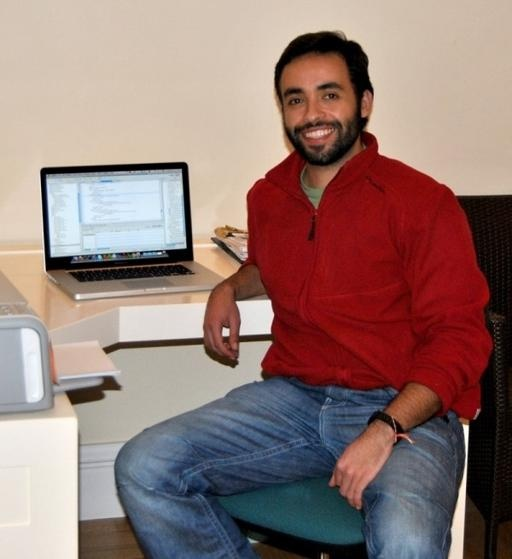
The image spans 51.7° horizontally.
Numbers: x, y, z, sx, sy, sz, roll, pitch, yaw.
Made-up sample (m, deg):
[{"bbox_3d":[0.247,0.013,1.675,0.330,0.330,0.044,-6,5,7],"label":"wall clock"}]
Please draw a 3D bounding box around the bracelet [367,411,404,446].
[{"bbox_3d":[0.208,0.237,0.846,0.053,0.051,0.032,-24,19,52],"label":"bracelet"}]

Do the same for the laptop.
[{"bbox_3d":[-0.358,-0.149,1.448,0.537,0.292,0.402,-5,22,-23],"label":"laptop"}]
